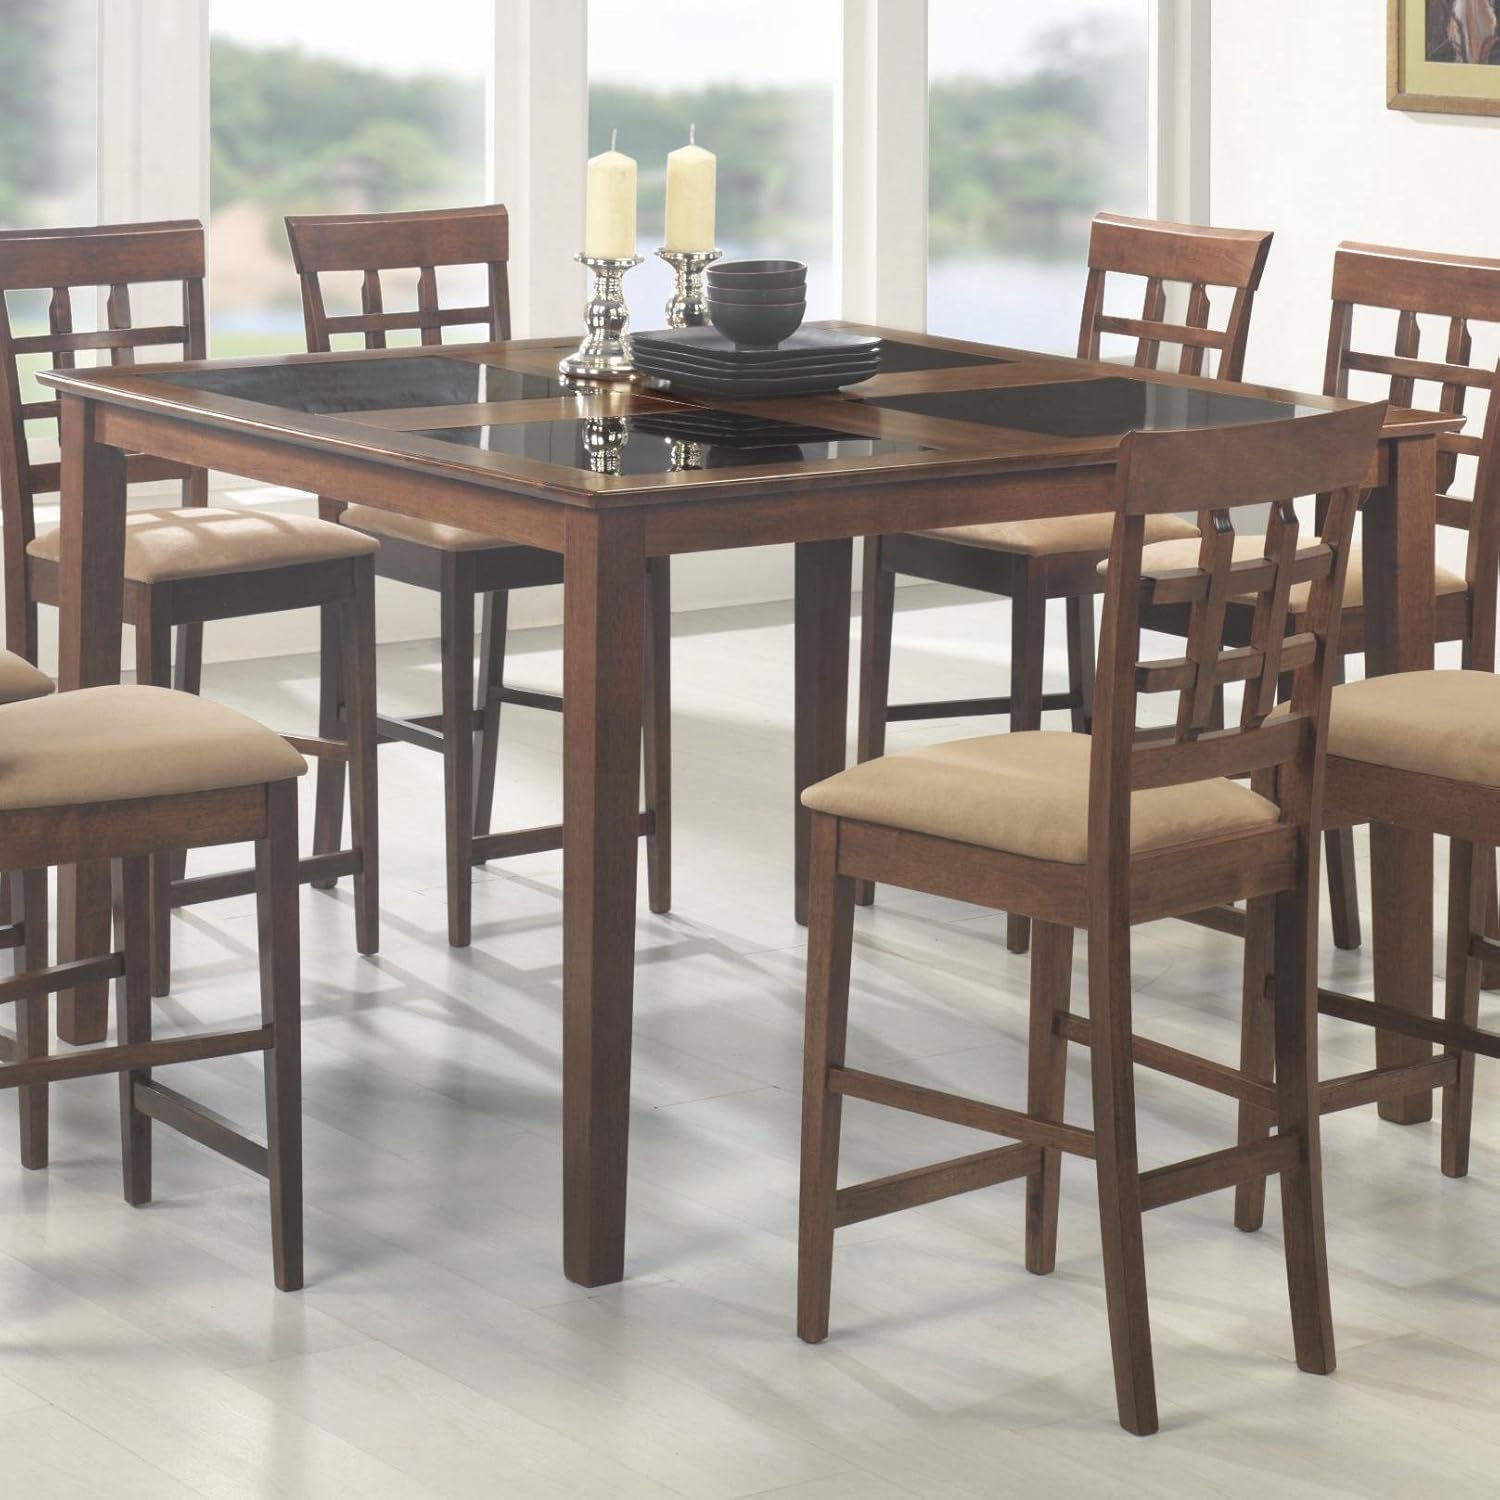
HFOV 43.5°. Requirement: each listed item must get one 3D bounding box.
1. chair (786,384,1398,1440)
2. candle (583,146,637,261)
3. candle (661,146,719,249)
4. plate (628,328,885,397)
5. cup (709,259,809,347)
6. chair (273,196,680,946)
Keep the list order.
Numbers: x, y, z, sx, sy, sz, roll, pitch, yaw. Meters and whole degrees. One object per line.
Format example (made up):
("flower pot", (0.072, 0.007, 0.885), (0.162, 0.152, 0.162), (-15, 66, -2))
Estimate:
("chair", (0.312, 0.131, 1.744), (0.520, 0.889, 0.425), (7, 16, 25))
("candle", (-0.183, -0.702, 2.432), (0.061, 0.142, 0.160), (-1, 13, -5))
("candle", (-0.084, -0.763, 2.608), (0.064, 0.143, 0.180), (-1, 13, -5))
("plate", (-0.019, -0.516, 2.522), (0.199, 0.050, 0.192), (5, 8, 35))
("cup", (0.013, -0.607, 2.533), (0.132, 0.082, 0.110), (-1, 14, 1))
("chair", (-0.453, -0.300, 3.189), (0.624, 1.134, 0.510), (18, 22, 37))
